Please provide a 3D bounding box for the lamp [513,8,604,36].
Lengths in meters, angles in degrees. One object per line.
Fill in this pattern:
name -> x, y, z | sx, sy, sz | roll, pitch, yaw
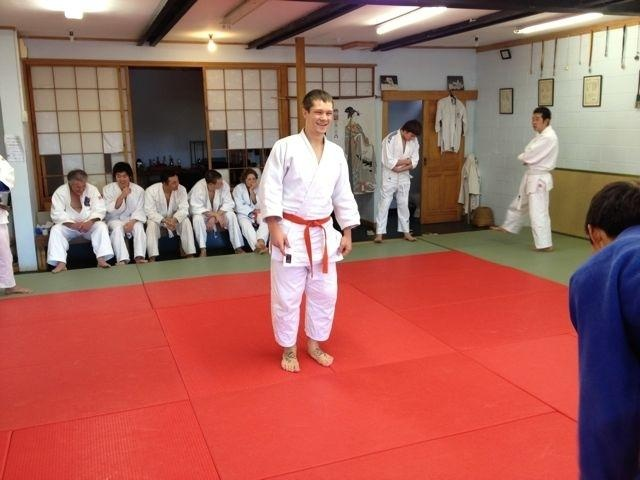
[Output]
lamp -> 2.895, -2.630, 5.605 | 0.950, 0.071, 0.290 | -2, 9, 43

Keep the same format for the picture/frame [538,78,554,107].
picture/frame -> 3.392, -2.205, 6.979 | 0.042, 0.428, 0.307 | -6, 14, -18

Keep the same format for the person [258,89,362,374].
person -> -0.062, -0.126, 3.107 | 0.660, 1.666, 0.333 | -4, 13, -9

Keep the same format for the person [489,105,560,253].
person -> 2.814, -0.808, 6.080 | 0.483, 1.795, 0.764 | -6, 14, -18

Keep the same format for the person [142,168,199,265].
person -> -2.077, -0.318, 6.262 | 0.627, 1.103, 0.789 | -11, 29, -35

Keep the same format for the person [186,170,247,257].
person -> -1.471, -0.390, 6.432 | 0.614, 1.038, 0.967 | -7, 19, -22

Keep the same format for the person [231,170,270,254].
person -> -0.861, -0.296, 5.703 | 0.418, 0.699, 1.159 | -6, 44, -20

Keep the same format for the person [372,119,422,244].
person -> 1.093, -0.819, 6.593 | 0.664, 1.668, 0.617 | -1, 13, 2
